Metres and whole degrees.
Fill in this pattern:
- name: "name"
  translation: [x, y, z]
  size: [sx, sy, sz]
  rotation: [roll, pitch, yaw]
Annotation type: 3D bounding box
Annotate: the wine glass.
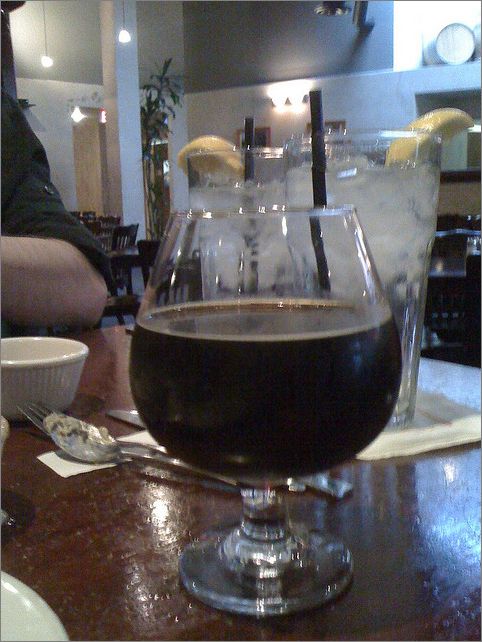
- name: "wine glass"
  translation: [0.017, 0.039, 0.263]
  size: [0.107, 0.240, 0.127]
  rotation: [-2, 5, -3]
